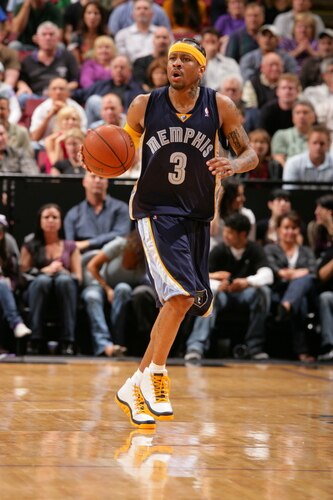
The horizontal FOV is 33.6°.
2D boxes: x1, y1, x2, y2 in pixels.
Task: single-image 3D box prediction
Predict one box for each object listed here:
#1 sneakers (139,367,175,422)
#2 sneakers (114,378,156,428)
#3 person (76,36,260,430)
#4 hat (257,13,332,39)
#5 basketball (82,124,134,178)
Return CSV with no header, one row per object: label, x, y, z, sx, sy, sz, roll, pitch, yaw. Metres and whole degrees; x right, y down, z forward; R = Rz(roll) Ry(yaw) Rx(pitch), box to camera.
sneakers,-0.039,0.619,2.442,0.104,0.126,0.281,-1,26,-22
sneakers,-0.124,0.670,2.397,0.088,0.113,0.254,-7,29,-35
person,0.101,-0.137,2.551,0.806,1.713,0.550,-6,5,-21
hat,1.856,-3.339,8.208,0.879,0.278,0.813,1,12,7
basketball,-0.304,-0.533,2.844,0.273,0.300,0.269,-7,27,-24
